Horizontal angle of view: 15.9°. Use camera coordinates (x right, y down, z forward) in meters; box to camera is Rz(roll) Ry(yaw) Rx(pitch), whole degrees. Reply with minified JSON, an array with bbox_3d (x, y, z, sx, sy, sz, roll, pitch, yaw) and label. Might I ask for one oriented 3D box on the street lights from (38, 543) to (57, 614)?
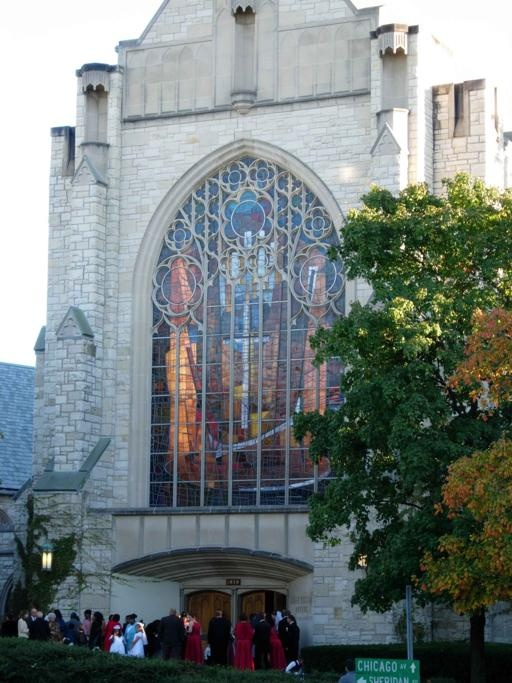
[{"bbox_3d":[-4.618,5.073,40.258,0.252,1.355,0.250,-1,-1,0],"label":"street lights"}]
